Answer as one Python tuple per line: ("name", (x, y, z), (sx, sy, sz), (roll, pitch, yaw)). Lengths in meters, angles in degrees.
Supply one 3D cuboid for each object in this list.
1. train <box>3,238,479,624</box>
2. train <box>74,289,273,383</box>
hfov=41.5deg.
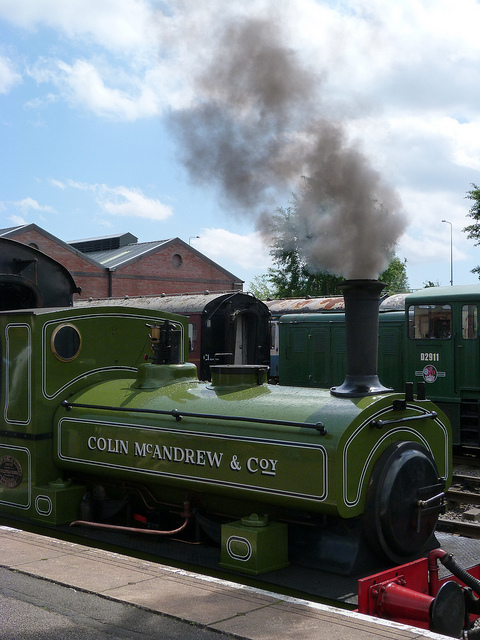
("train", (-0.100, 0.785, 5.221), (4.214, 2.218, 1.501), (-6, -10, 40))
("train", (-1.797, 0.894, 22.154), (2.654, 3.097, 10.732), (-3, 0, -23))
